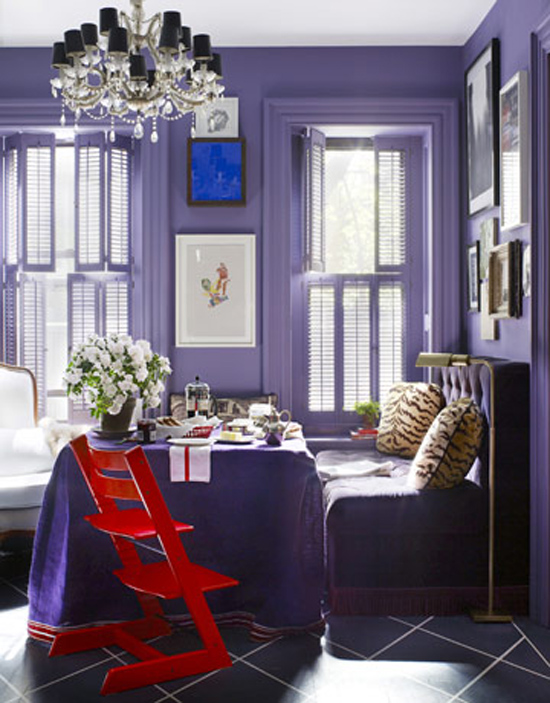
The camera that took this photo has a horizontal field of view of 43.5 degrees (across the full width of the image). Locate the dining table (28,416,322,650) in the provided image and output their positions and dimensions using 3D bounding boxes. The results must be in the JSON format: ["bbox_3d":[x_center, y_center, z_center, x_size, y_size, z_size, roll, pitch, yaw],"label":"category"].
[{"bbox_3d":[-0.245,0.703,2.666,0.751,0.512,0.805,2,-7,-25],"label":"dining table"}]

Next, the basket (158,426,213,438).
[{"bbox_3d":[-0.372,0.329,2.808,0.104,0.041,0.101,3,-4,-1],"label":"basket"}]

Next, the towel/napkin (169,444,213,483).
[{"bbox_3d":[-0.325,0.428,2.697,0.122,0.151,0.045,2,-5,-1],"label":"towel/napkin"}]

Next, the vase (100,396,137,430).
[{"bbox_3d":[-0.649,0.241,2.860,0.122,0.137,0.127,2,2,5],"label":"vase"}]

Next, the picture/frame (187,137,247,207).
[{"bbox_3d":[-0.356,-1.078,4.177,0.360,0.499,0.049,0,-20,-6],"label":"picture/frame"}]

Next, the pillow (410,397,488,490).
[{"bbox_3d":[0.715,0.417,2.912,0.177,0.365,0.344,25,22,20],"label":"pillow"}]

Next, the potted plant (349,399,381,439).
[{"bbox_3d":[0.565,0.408,4.267,0.179,0.289,0.192,-1,0,0],"label":"potted plant"}]

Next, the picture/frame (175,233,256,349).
[{"bbox_3d":[-0.351,-0.383,4.196,0.531,0.869,0.041,0,2,4],"label":"picture/frame"}]

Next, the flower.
[{"bbox_3d":[-0.652,0.094,2.900,0.337,0.365,0.380,-5,-6,18],"label":"flower"}]

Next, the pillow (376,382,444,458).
[{"bbox_3d":[0.760,0.373,3.897,0.141,0.416,0.340,16,-7,-30],"label":"pillow"}]
